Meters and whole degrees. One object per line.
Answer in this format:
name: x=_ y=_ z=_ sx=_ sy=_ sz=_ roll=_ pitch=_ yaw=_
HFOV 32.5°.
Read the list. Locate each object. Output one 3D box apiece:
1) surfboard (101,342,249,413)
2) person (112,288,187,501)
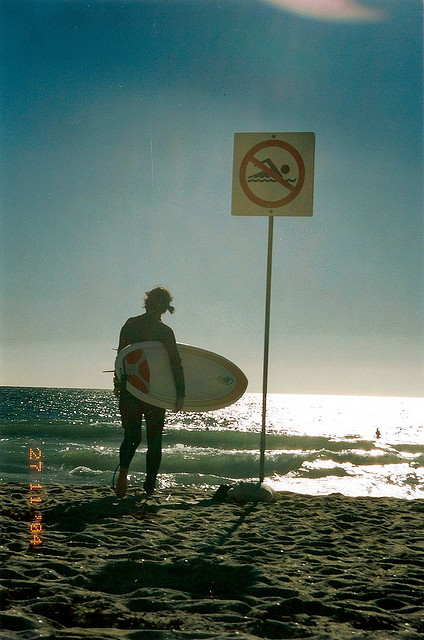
surfboard: x=-0.309 y=0.416 z=5.128 sx=0.399 sy=0.511 sz=1.342 roll=-24 pitch=-25 yaw=37
person: x=-0.420 y=0.517 z=5.027 sx=0.479 sy=1.486 sz=0.529 roll=2 pitch=-3 yaw=27
